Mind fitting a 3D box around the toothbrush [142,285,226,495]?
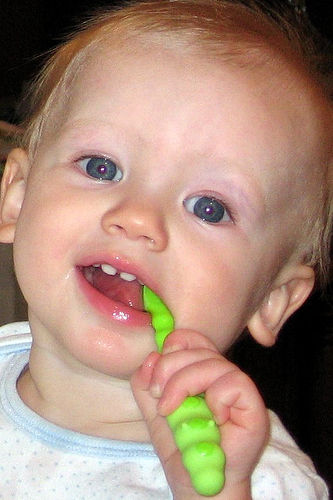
[{"bbox_3d":[-0.002,0.146,0.675,0.073,0.062,0.329,24,39,-45],"label":"toothbrush"}]
